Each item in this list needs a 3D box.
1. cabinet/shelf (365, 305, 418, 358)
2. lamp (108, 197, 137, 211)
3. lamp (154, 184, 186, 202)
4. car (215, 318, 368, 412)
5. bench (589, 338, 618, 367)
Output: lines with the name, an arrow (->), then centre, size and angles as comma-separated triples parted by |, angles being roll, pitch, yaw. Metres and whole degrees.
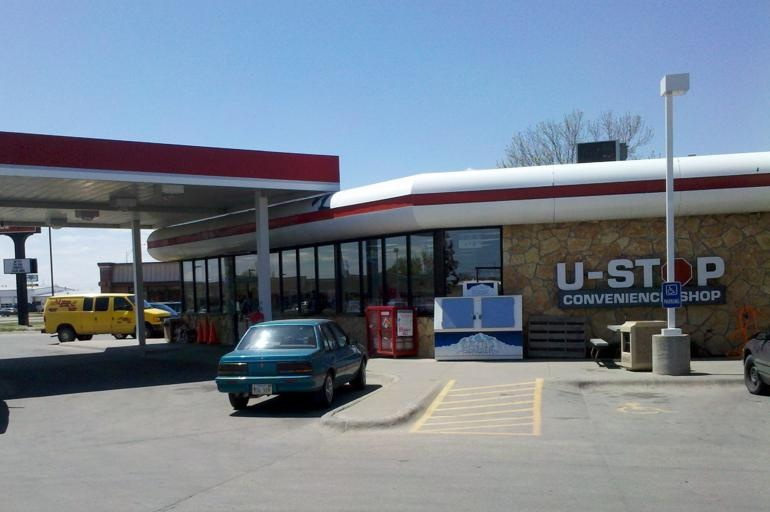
cabinet/shelf -> 0.263, 2.497, 24.335 | 1.101, 1.629, 1.953 | 0, -3, -28
lamp -> -9.577, -1.951, 25.966 | 0.609, 0.366, 0.703 | 0, -4, -22
lamp -> -6.955, -2.233, 22.911 | 0.872, 0.590, 0.601 | -2, 6, -38
car -> -2.046, 2.544, 16.974 | 1.961, 2.041, 3.533 | -4, -4, 44
bench -> 6.607, 2.811, 21.439 | 0.752, 0.724, 2.454 | -3, -3, 16
